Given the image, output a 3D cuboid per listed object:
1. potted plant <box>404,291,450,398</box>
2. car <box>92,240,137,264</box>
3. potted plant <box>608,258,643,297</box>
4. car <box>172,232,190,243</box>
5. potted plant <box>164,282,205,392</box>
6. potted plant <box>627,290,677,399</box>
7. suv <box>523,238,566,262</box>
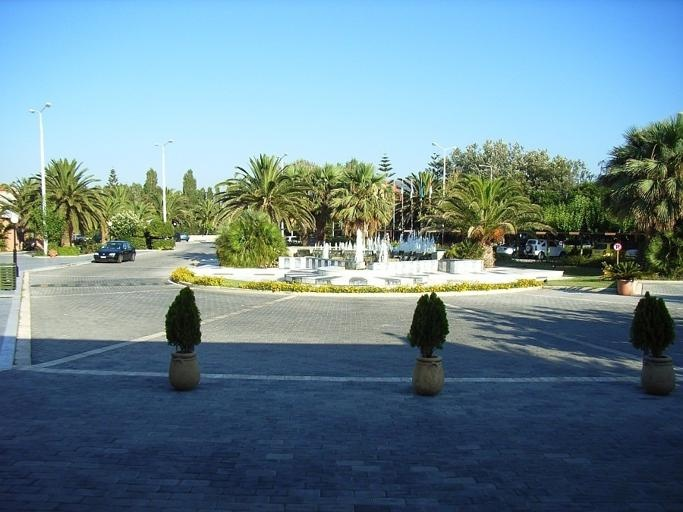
[{"bbox_3d":[1.556,1.557,9.226,0.651,1.787,1.262,0,1,12],"label":"potted plant"},{"bbox_3d":[-18.551,-0.141,42.615,1.920,1.797,3.093,0,1,19],"label":"car"},{"bbox_3d":[12.606,1.119,23.432,1.327,1.610,1.403,2,-4,-11],"label":"potted plant"},{"bbox_3d":[-27.048,-2.735,87.485,2.165,1.531,1.928,0,1,-15],"label":"car"},{"bbox_3d":[-2.788,1.504,9.114,0.560,1.801,0.705,-1,2,-20],"label":"potted plant"},{"bbox_3d":[5.412,1.581,9.002,0.654,1.811,0.724,1,2,34],"label":"potted plant"},{"bbox_3d":[19.153,-0.222,48.478,4.161,1.972,1.991,-6,8,-23],"label":"suv"}]
